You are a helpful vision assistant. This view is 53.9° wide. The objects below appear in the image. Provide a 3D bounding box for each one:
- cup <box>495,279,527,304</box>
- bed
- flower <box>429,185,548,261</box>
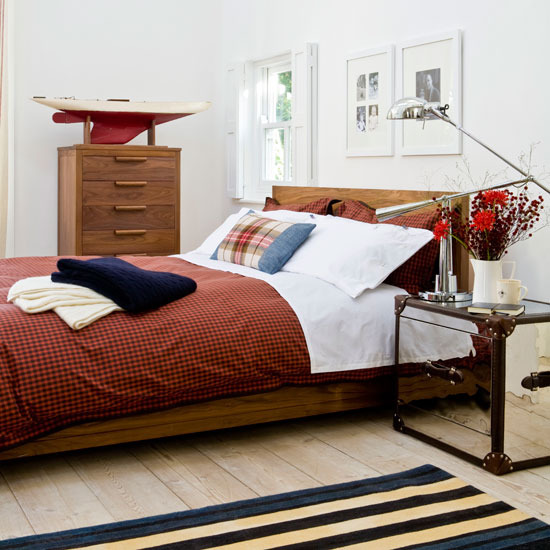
[{"bbox_3d":[0.826,0.062,1.908,0.121,0.087,0.078,2,2,42],"label":"cup"},{"bbox_3d":[-0.137,0.225,1.954,1.399,0.461,1.210,-3,6,-27],"label":"bed"},{"bbox_3d":[0.804,-0.188,2.004,0.436,0.208,0.381,-4,13,7],"label":"flower"}]
